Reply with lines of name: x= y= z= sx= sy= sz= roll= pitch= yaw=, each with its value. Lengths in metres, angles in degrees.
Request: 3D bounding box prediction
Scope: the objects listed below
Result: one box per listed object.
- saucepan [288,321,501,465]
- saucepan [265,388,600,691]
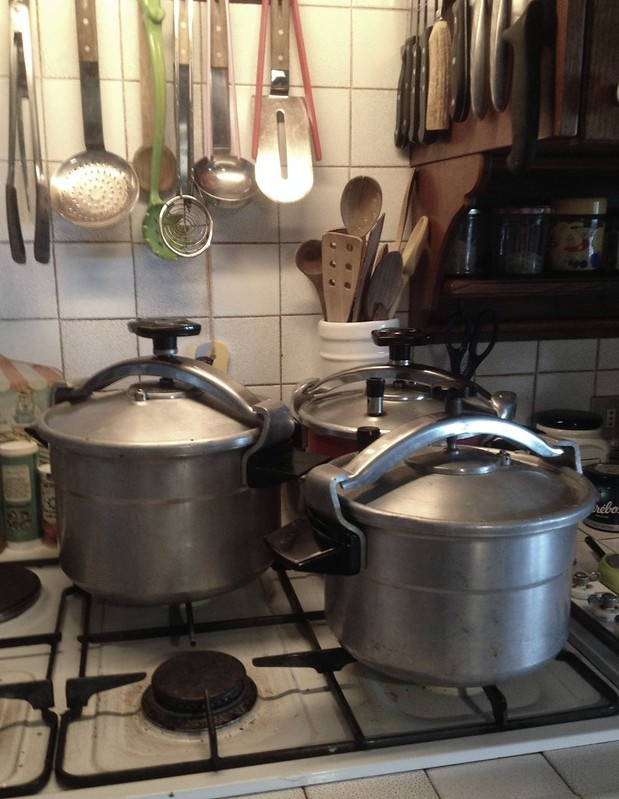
saucepan: x=0.120 y=-0.009 z=0.891 sx=0.281 sy=0.149 sz=0.196 roll=-1 pitch=13 yaw=0
saucepan: x=0.114 y=0.105 z=0.629 sx=0.342 sy=0.218 sz=0.208 roll=-6 pitch=14 yaw=-29
